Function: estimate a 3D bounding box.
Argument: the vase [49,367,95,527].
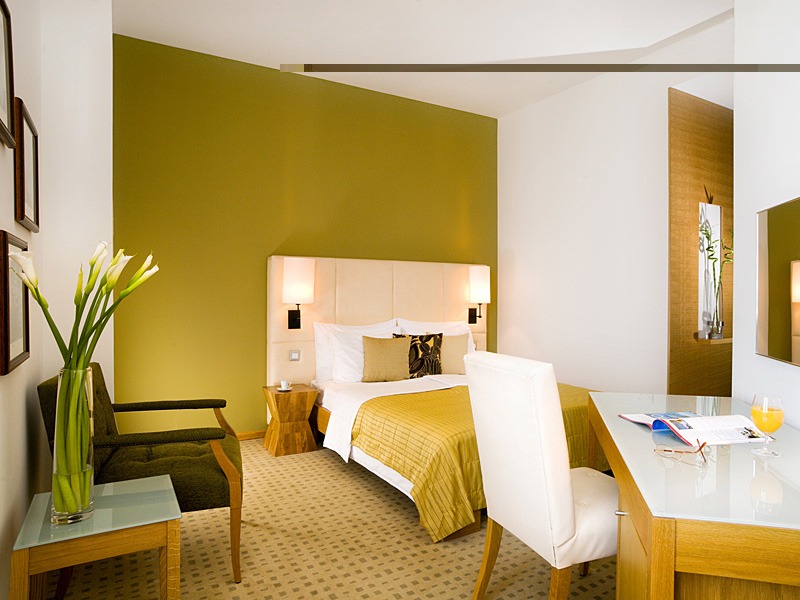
[{"bbox_3d":[-1.450,0.627,2.499,0.187,0.666,0.147,-5,8,-34],"label":"vase"}]

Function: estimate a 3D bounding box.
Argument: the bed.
[{"bbox_3d":[0.166,0.623,4.798,2.054,1.542,2.182,-1,1,-28],"label":"bed"}]

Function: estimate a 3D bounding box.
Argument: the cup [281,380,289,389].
[{"bbox_3d":[-1.030,0.752,5.069,0.048,0.052,0.064,-3,-8,36],"label":"cup"}]

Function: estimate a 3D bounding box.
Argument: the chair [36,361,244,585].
[{"bbox_3d":[-1.409,0.974,3.503,1.085,1.453,0.996,0,2,-18],"label":"chair"}]

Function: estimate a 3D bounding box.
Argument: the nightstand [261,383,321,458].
[{"bbox_3d":[-0.988,1.065,5.140,0.496,0.571,0.335,-2,7,-16],"label":"nightstand"}]
